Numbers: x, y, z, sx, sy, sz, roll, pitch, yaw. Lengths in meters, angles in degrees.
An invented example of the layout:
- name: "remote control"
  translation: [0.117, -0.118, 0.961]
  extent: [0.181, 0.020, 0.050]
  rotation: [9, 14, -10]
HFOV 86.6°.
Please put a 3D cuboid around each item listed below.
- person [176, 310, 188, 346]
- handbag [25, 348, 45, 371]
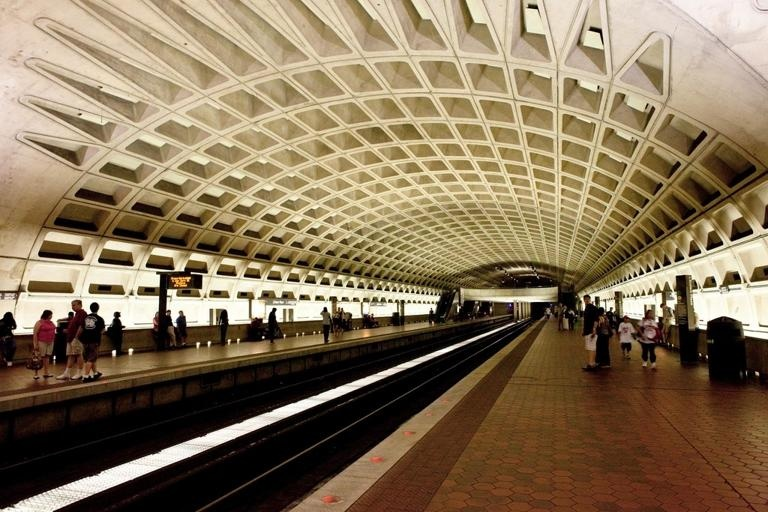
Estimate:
- name: "person"
  translation: [-11.243, 3.982, 22.718]
  extent: [0.536, 1.858, 1.020]
  rotation: [6, -13, -25]
- name: "handbag"
  translation: [-10.629, 3.171, 12.519]
  extent: [0.326, 0.613, 0.599]
  rotation: [8, -13, -33]
